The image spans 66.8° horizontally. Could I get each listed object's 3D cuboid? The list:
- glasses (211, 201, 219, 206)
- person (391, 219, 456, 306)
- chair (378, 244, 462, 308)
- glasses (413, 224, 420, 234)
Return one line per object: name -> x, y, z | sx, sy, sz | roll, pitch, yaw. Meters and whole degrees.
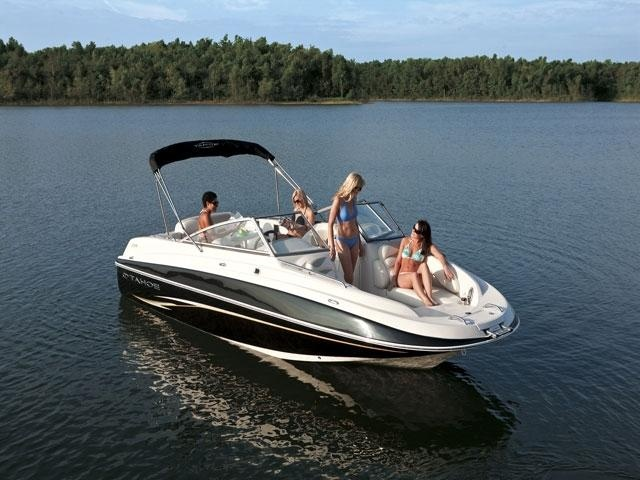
glasses -> -2.032, -0.699, 9.286 | 0.128, 0.103, 0.048 | 3, 0, -45
person -> 1.607, 0.295, 7.539 | 0.698, 1.210, 1.007 | -15, 22, -26
chair -> 1.543, 0.387, 7.384 | 0.933, 0.985, 1.371 | -17, 23, -2
glasses -> 1.491, -0.184, 7.501 | 0.089, 0.162, 0.134 | -4, 19, 1
